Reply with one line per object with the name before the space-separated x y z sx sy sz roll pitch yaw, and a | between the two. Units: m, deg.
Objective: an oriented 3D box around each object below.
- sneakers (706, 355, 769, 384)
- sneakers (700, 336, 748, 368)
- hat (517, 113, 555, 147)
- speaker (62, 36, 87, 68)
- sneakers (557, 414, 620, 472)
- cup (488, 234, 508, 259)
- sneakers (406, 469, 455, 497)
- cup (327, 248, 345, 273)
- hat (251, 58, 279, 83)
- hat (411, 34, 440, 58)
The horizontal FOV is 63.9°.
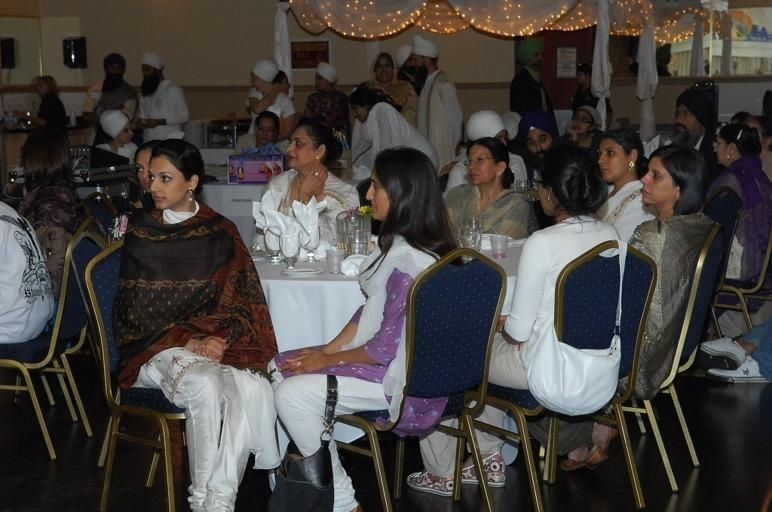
sneakers | 2.455 0.814 4.379 0.447 0.209 0.148 4 -16 5
sneakers | 2.288 0.667 4.347 0.394 0.158 0.190 4 12 6
hat | 1.397 -1.157 5.698 0.320 0.286 0.246 1 1 -7
speaker | -5.354 -3.529 10.717 0.480 0.513 0.272 13 19 28
sneakers | 1.046 1.041 3.316 0.277 0.108 0.322 -27 -21 -26
cup | 0.626 -0.052 3.422 0.110 0.139 0.116 -1 3 0
sneakers | 0.232 1.155 3.156 0.237 0.116 0.094 8 8 33
cup | -0.257 0.027 3.250 0.104 0.121 0.109 1 5 0
hat | -1.388 -2.165 7.160 0.219 0.242 0.297 11 19 -37
hat | 0.457 -2.475 7.362 0.332 0.246 0.251 7 12 -9
